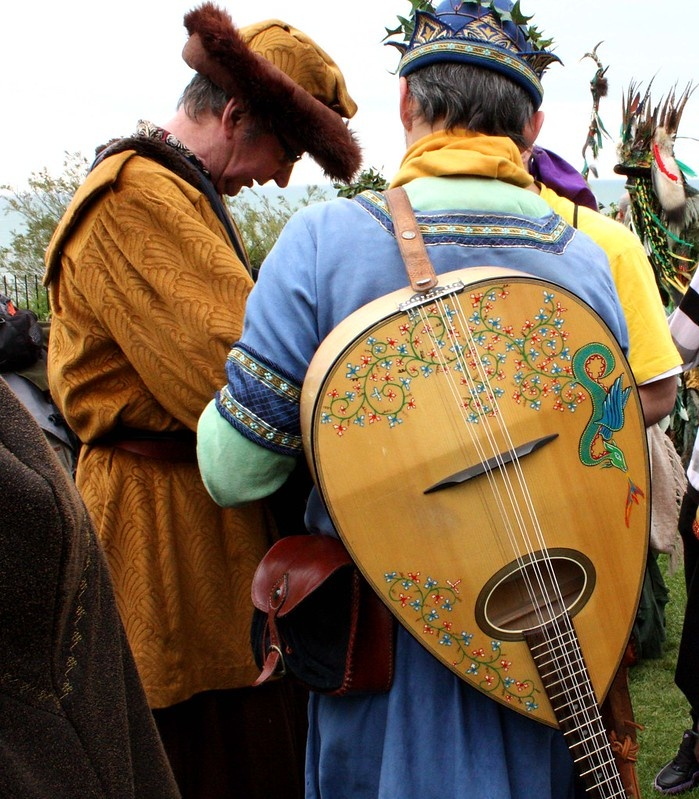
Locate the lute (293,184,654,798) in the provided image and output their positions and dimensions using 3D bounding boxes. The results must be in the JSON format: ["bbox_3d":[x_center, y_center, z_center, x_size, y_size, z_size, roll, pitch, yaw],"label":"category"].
[{"bbox_3d":[0.259,0.160,1.563,0.531,0.916,0.168,-28,7,-25],"label":"lute"}]

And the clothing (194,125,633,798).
[{"bbox_3d":[-0.006,0.128,1.799,0.980,1.082,0.304,-9,7,-27],"label":"clothing"}]
